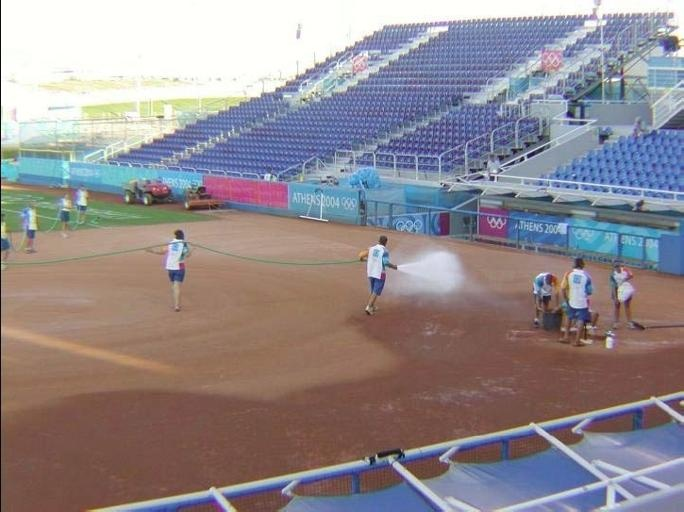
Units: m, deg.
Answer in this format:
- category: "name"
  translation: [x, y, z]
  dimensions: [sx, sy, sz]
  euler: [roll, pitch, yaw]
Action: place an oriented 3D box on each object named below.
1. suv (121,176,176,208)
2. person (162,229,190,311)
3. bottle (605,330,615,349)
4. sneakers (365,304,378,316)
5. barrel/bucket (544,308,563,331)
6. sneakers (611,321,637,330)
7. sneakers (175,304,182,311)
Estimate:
- category: "suv"
  translation: [-9.829, -3.236, 39.718]
  dimensions: [2.533, 1.259, 1.474]
  euler: [12, 19, 40]
- category: "person"
  translation: [-4.162, 0.295, 19.627]
  dimensions: [0.589, 2.061, 1.040]
  euler: [-4, 15, -12]
- category: "bottle"
  translation: [5.828, 1.819, 16.851]
  dimensions: [0.194, 0.305, 0.368]
  euler: [4, 15, 19]
- category: "sneakers"
  translation: [0.709, 1.356, 19.272]
  dimensions: [0.195, 0.142, 0.446]
  euler: [-21, -9, 10]
- category: "barrel/bucket"
  translation: [4.861, 1.493, 17.972]
  dimensions: [0.449, 0.438, 0.438]
  euler: [-1, 13, 0]
- category: "sneakers"
  translation: [6.570, 1.595, 18.054]
  dimensions: [0.632, 0.267, 0.227]
  euler: [1, 3, 3]
- category: "sneakers"
  translation: [-4.101, 1.297, 19.446]
  dimensions: [0.148, 0.142, 0.159]
  euler: [-1, 10, -9]
